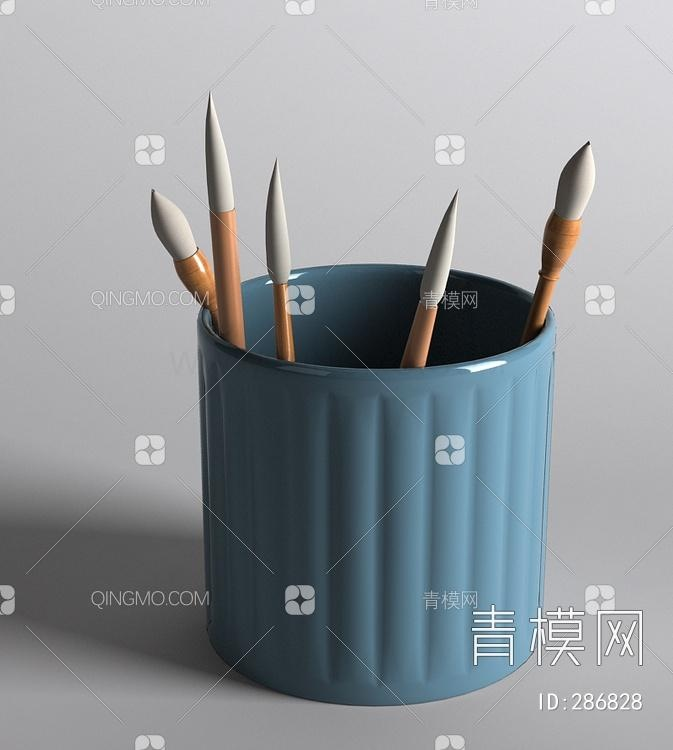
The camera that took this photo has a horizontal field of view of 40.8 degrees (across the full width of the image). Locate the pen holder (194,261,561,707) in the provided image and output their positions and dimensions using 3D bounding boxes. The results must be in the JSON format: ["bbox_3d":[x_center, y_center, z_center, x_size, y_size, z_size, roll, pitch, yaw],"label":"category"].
[{"bbox_3d":[0.035,0.063,0.679,0.255,0.279,0.263,-1,-73,-2],"label":"pen holder"}]
